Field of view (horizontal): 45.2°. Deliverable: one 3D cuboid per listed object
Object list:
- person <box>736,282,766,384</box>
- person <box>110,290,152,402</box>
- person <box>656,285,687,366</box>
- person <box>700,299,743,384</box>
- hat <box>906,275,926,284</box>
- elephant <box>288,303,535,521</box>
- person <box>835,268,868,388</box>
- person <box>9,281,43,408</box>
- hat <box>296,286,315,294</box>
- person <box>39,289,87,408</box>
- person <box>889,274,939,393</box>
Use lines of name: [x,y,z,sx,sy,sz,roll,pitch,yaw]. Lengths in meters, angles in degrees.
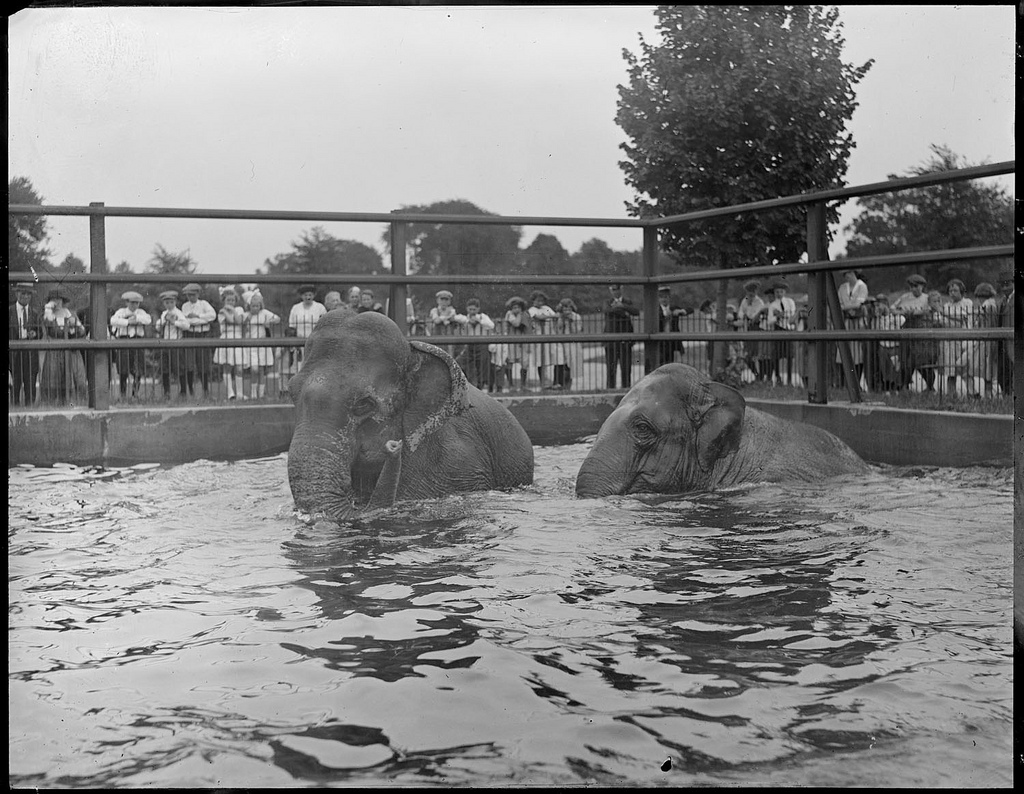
person: [2.353,-0.681,12.130,0.232,0.923,0.241,-8,-11,26]
person: [-3.208,-0.467,10.401,0.326,0.686,1.126,-4,13,-16]
person: [1.585,-0.725,12.304,0.276,0.671,0.820,1,12,7]
person: [2.052,-0.538,11.901,0.225,0.773,0.548,-2,-3,7]
hat: [3.906,-1.137,11.956,0.131,0.061,0.174,3,11,-5]
elephant: [-0.627,0.101,7.089,0.502,1.240,1.828,8,15,36]
person: [3.291,-0.753,11.898,0.280,0.956,0.250,-12,9,-35]
person: [-4.026,-0.454,10.182,0.265,0.845,1.022,-5,13,-21]
hat: [-2.071,-1.090,12.426,0.144,0.090,0.181,0,-1,-14]
person: [-3.696,-0.407,10.088,0.367,0.818,0.530,-5,12,-19]
person: [3.226,-0.508,9.849,0.336,0.919,0.341,-3,6,-31]
